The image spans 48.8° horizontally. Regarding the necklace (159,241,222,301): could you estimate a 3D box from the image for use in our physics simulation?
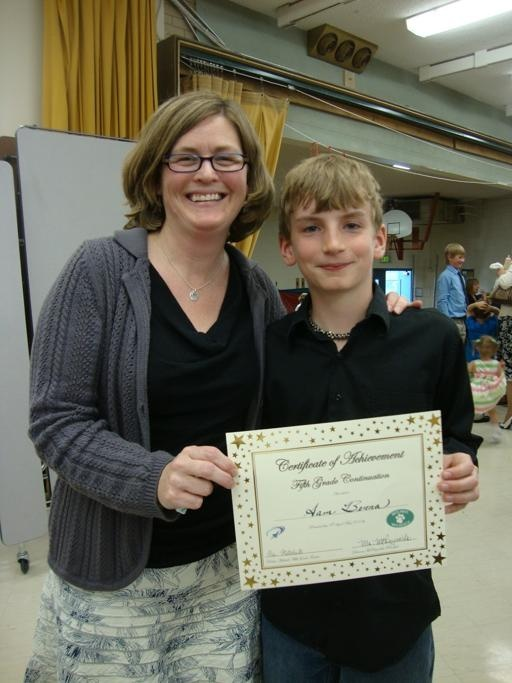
[{"bbox_3d":[-0.144,-0.129,1.191,0.163,0.115,0.058,1,-25,-32],"label":"necklace"}]

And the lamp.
[{"bbox_3d":[0.851,-2.774,5.374,0.651,0.192,0.212,36,71,23],"label":"lamp"}]
